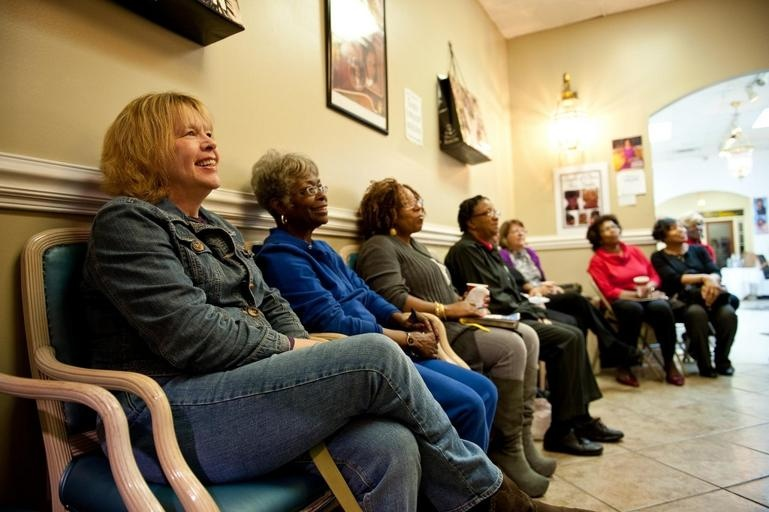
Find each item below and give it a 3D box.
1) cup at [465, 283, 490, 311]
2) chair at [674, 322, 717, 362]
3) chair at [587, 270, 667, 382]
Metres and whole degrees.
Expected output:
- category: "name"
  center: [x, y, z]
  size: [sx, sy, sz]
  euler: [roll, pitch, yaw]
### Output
- category: "cup"
  center: [0.532, 0.233, 2.894]
  size: [0.124, 0.136, 0.141]
  euler: [3, -12, -13]
- category: "chair"
  center: [2.896, 0.805, 4.663]
  size: [0.414, 0.191, 0.262]
  euler: [4, -17, -33]
- category: "chair"
  center: [2.129, 0.742, 4.724]
  size: [0.853, 1.177, 0.654]
  euler: [-8, -6, 33]
